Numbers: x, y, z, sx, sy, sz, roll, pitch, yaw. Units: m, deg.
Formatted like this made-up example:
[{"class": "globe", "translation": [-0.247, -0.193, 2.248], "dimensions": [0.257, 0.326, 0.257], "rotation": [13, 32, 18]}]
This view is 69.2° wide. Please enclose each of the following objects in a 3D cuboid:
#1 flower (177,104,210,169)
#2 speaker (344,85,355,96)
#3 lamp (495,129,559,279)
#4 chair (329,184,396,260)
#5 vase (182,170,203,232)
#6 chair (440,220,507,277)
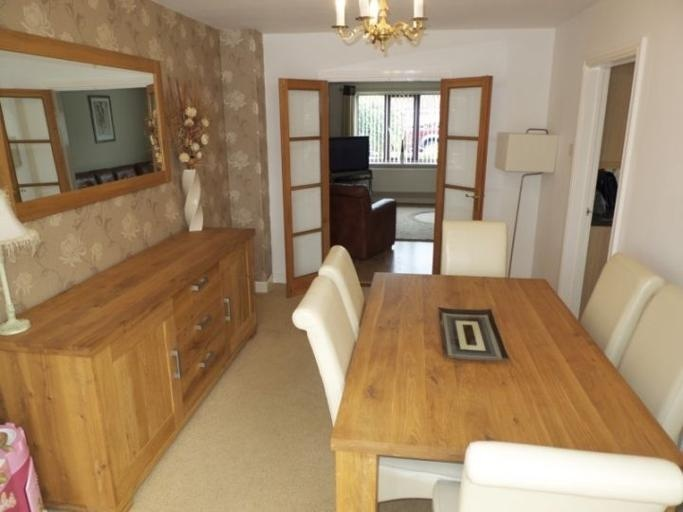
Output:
[{"class": "flower", "translation": [-1.303, -1.037, 4.330], "dimensions": [0.259, 0.547, 0.640], "rotation": [-4, 18, -15]}, {"class": "speaker", "translation": [0.149, -3.396, 10.144], "dimensions": [0.199, 0.195, 0.112], "rotation": [14, 43, 22]}, {"class": "lamp", "translation": [1.726, -0.419, 4.823], "dimensions": [0.555, 1.548, 1.025], "rotation": [8, 19, 22]}, {"class": "chair", "translation": [0.332, -0.547, 6.936], "dimensions": [0.918, 1.062, 0.960], "rotation": [12, 22, 32]}, {"class": "vase", "translation": [-1.283, -0.472, 4.212], "dimensions": [0.168, 0.521, 0.128], "rotation": [2, 17, 4]}, {"class": "chair", "translation": [1.036, -0.069, 3.908], "dimensions": [0.418, 0.469, 0.330], "rotation": [1, 8, 6]}]
